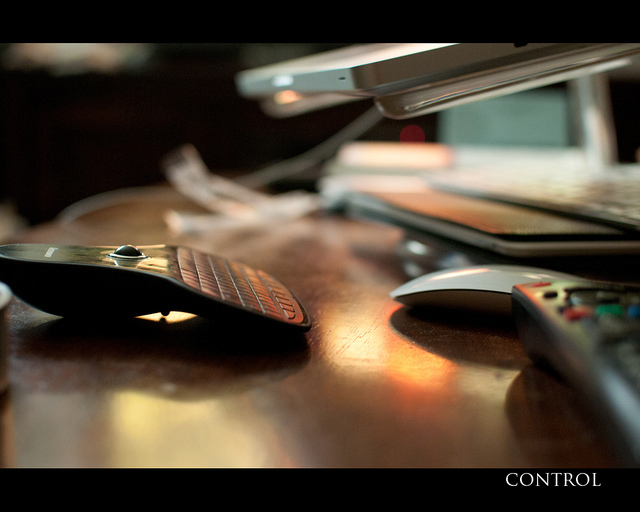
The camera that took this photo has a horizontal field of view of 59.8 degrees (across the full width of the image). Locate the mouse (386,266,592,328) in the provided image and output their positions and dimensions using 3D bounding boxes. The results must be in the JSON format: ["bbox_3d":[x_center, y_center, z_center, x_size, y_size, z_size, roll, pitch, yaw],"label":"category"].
[{"bbox_3d":[0.108,0.028,0.415,0.105,0.027,0.061,1,-2,-2],"label":"mouse"}]
